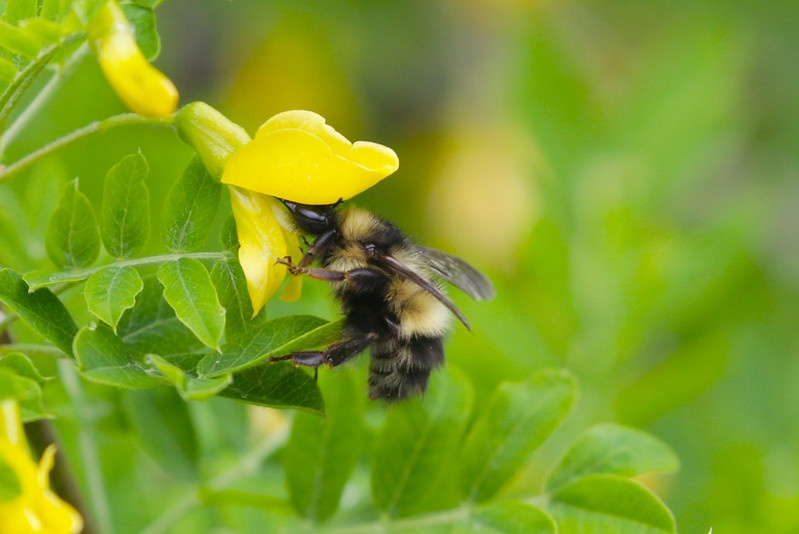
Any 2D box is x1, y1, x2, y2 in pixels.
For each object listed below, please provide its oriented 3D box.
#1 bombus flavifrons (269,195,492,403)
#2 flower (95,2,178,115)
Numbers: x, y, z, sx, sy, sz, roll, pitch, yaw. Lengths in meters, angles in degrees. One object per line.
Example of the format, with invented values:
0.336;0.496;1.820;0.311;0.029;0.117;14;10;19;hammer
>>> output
-0.025;0.054;1.595;0.397;0.131;0.288;40;23;3;bombus flavifrons
-0.407;-0.307;1.359;0.175;0.089;0.059;57;-17;-19;flower
